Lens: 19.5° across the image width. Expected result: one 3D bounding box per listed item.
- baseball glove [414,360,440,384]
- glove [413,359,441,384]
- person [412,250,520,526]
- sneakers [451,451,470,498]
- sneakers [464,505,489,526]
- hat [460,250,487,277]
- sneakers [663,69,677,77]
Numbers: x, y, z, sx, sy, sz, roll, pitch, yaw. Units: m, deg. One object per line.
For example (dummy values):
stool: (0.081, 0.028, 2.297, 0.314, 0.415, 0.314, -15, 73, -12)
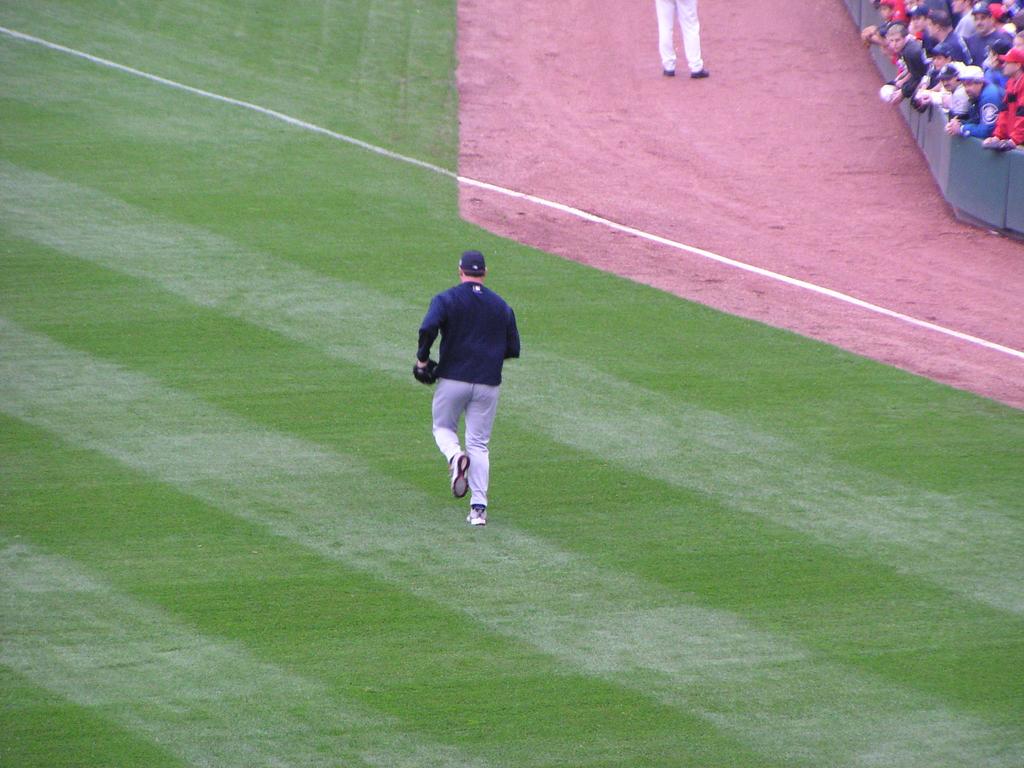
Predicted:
baseball glove: (-0.780, -0.146, 28.128, 0.246, 0.272, 0.353, 9, 14, -1)
glove: (-0.781, -0.137, 28.072, 0.247, 0.263, 0.241, 9, 14, -1)
person: (-0.451, -0.001, 28.054, 0.936, 2.468, 0.754, 10, 15, 1)
sneakers: (-0.469, 0.854, 27.995, 0.174, 0.387, 0.189, 5, -3, -35)
sneakers: (-0.294, 1.199, 28.048, 0.186, 0.201, 0.164, 7, 14, -7)
hat: (-0.345, -1.177, 28.150, 0.203, 0.153, 0.262, 1, 31, -7)
sneakers: (2.115, -4.107, 39.006, 0.114, 0.139, 0.084, 9, 24, 9)
